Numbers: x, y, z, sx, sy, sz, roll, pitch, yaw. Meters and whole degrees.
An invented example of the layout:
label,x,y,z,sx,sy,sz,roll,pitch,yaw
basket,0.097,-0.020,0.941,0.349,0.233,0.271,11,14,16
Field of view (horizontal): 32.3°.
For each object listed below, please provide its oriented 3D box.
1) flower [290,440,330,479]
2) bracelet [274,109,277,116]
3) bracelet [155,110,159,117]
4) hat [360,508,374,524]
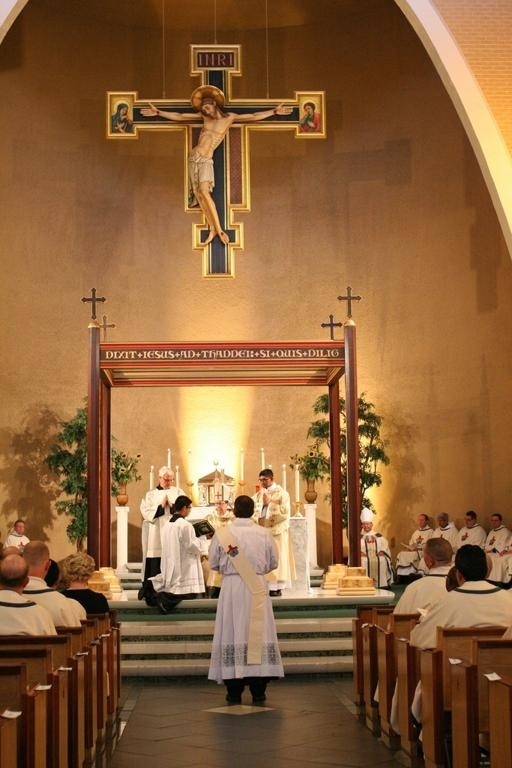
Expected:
label,x,y,z,sx,sy,sz,roll,pitch,yaw
flower,0.914,1.260,14.362,0.602,0.622,0.610,0,2,-12
bracelet,0.224,-3.095,10.020,0.036,0.052,0.016,-2,7,0
bracelet,-1.110,-3.058,9.927,0.046,0.067,0.016,-2,7,-10
hat,1.666,2.030,13.396,0.221,0.281,0.298,0,-35,7
